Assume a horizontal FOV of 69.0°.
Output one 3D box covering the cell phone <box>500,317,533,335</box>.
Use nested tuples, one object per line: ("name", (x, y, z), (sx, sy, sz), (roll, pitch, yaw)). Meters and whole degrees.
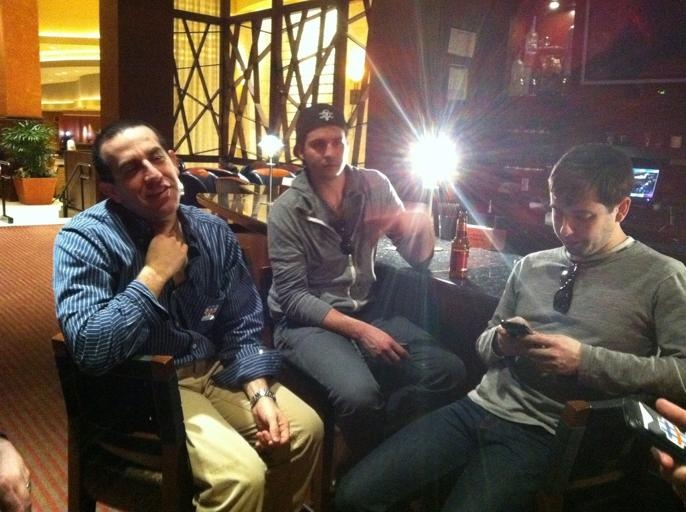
("cell phone", (0.590, 0.235, 1.674), (0.065, 0.021, 0.065), (12, 13, 9))

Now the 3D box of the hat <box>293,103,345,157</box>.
("hat", (-0.105, -0.628, 2.455), (0.189, 0.198, 0.255), (-2, 21, 10))

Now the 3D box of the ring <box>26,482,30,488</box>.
("ring", (-0.992, 0.722, 1.567), (0.004, 0.012, 0.012), (13, -27, -4))

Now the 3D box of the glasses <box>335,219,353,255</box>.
("glasses", (0.004, -0.093, 2.409), (0.113, 0.151, 0.050), (-7, 2, -14))
